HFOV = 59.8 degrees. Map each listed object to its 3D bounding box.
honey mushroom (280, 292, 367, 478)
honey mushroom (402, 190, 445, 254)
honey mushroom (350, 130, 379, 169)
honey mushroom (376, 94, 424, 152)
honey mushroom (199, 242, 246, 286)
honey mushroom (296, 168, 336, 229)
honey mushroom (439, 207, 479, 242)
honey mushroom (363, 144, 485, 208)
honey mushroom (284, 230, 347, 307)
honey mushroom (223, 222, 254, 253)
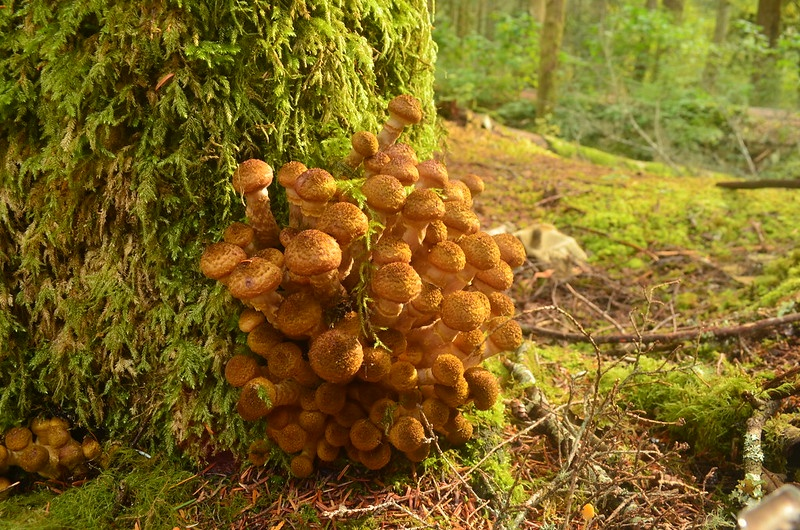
[{"bbox_3d":[-0.521,0.737,4.622,0.678,1.108,0.340,19,5,6],"label":"honey mushroom"},{"bbox_3d":[0.143,-0.277,4.432,0.269,0.378,0.266,-5,31,-46],"label":"honey mushroom"},{"bbox_3d":[-0.238,-0.758,4.599,0.173,0.173,0.265,-39,2,-18],"label":"honey mushroom"},{"bbox_3d":[-0.016,-0.948,4.642,0.279,0.380,0.184,8,18,5],"label":"honey mushroom"},{"bbox_3d":[-1.093,-0.041,4.318,0.235,0.183,0.234,14,47,28],"label":"honey mushroom"},{"bbox_3d":[-0.535,-0.416,4.359,0.194,0.423,0.202,39,42,19],"label":"honey mushroom"},{"bbox_3d":[0.390,-0.263,4.546,0.211,0.210,0.208,2,5,-13],"label":"honey mushroom"},{"bbox_3d":[0.198,-0.575,4.671,0.775,0.328,0.398,18,16,-29],"label":"honey mushroom"},{"bbox_3d":[-0.536,0.010,4.297,0.246,0.401,0.230,38,68,23],"label":"honey mushroom"},{"bbox_3d":[-1.007,-0.187,4.359,0.180,0.183,0.181,-9,35,2],"label":"honey mushroom"}]
